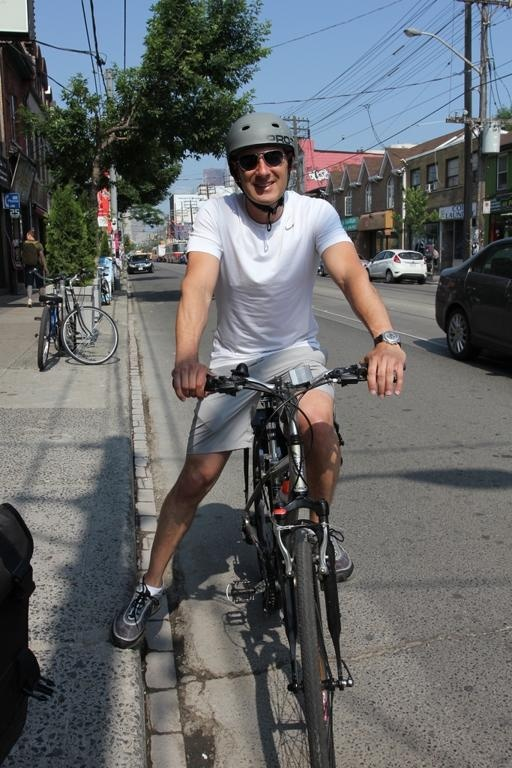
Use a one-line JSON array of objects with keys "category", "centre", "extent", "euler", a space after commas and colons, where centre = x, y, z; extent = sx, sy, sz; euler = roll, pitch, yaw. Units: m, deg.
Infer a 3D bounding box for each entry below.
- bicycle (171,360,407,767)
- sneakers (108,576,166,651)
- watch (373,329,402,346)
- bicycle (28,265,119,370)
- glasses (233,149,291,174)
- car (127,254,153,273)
[{"category": "bicycle", "centre": [0.079, 0.499, 1.863], "extent": [0.525, 1.153, 1.185], "euler": [1, 6, -5]}, {"category": "sneakers", "centre": [-0.427, 0.861, 2.311], "extent": [0.105, 0.120, 0.279], "euler": [29, 19, -4]}, {"category": "watch", "centre": [0.389, -0.129, 1.824], "extent": [0.072, 0.053, 0.080], "euler": [10, -11, -23]}, {"category": "bicycle", "centre": [-2.808, -0.828, 9.334], "extent": [0.814, 1.196, 1.884], "euler": [0, 0, 18]}, {"category": "glasses", "centre": [0.020, -0.747, 2.086], "extent": [0.188, 0.077, 0.076], "euler": [2, 6, -2]}, {"category": "car", "centre": [-10.122, -10.615, 55.098], "extent": [1.399, 1.320, 2.630], "euler": [-3, 1, -8]}]
